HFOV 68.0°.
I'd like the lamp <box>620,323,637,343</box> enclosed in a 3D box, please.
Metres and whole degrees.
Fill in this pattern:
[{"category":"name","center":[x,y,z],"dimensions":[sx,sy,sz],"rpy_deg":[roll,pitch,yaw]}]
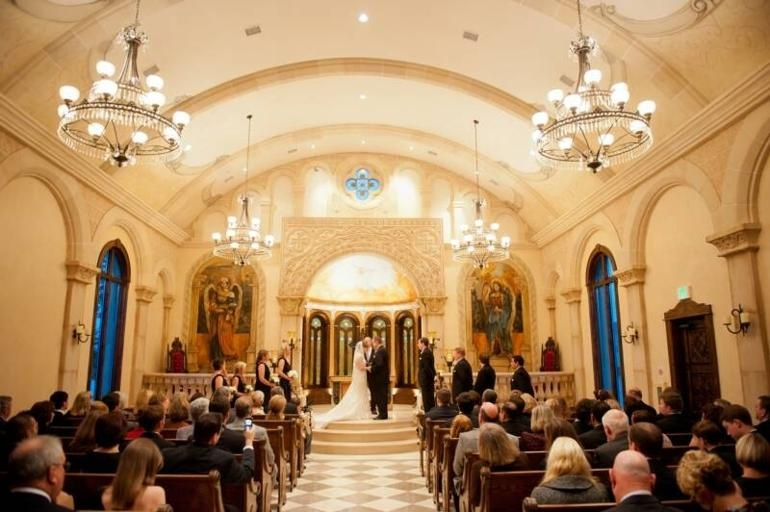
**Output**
[{"category":"lamp","center":[6.004,1.876,13.959],"dimensions":[0.251,0.438,0.484],"rpy_deg":[7,-14,0]}]

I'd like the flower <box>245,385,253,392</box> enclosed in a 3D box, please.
[{"category":"flower","center":[-3.090,2.963,13.004],"dimensions":[0.168,0.104,0.218],"rpy_deg":[-3,-42,-2]}]

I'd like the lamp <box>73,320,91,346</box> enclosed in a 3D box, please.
[{"category":"lamp","center":[-7.200,1.795,13.522],"dimensions":[0.311,0.623,0.490],"rpy_deg":[-9,-20,6]}]

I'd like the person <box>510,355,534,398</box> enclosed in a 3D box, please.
[{"category":"person","center":[3.074,2.956,12.704],"dimensions":[0.449,1.401,0.643],"rpy_deg":[-2,-15,7]}]

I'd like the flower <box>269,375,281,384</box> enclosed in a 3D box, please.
[{"category":"flower","center":[-2.679,3.018,13.957],"dimensions":[0.222,0.110,0.219],"rpy_deg":[9,-4,-26]}]

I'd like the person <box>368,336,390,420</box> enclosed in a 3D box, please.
[{"category":"person","center":[-0.176,3.370,15.942],"dimensions":[0.545,2.240,0.713],"rpy_deg":[1,-16,-3]}]

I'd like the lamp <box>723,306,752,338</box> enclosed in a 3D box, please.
[{"category":"lamp","center":[6.566,1.203,10.664],"dimensions":[0.251,0.580,0.679],"rpy_deg":[-1,-16,6]}]
